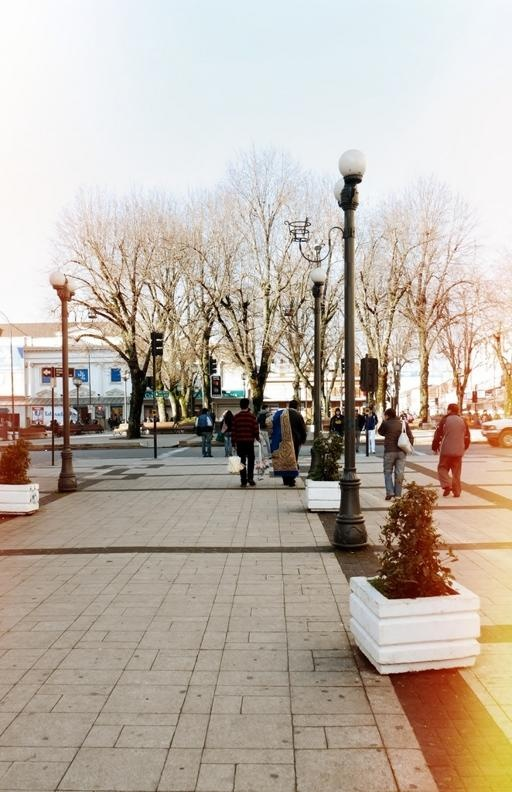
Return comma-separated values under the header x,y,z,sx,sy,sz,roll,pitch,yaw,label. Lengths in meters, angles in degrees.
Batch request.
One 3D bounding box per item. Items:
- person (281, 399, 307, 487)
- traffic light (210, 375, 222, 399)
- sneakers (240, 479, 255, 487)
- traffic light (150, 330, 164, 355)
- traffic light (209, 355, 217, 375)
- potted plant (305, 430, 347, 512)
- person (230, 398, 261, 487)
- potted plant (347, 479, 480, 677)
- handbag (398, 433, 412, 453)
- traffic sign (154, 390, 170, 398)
x,y,z,sx,sy,sz,roll,pitch,yaw,label
0.752,0.990,13.378,0.492,1.253,1.753,-1,0,2,person
-1.769,-0.435,28.877,0.429,0.767,1.323,-1,0,-8,traffic light
-0.161,1.821,13.445,0.221,0.128,0.319,-2,1,-35,sneakers
-3.143,-1.676,20.978,0.313,0.691,1.977,-1,0,-10,traffic light
-2.072,-1.417,31.376,0.286,0.682,1.333,-1,0,-8,traffic light
1.107,1.182,10.226,0.502,1.198,0.617,3,3,-1,potted plant
-0.221,0.968,13.364,0.502,1.369,1.615,-1,0,-2,person
0.988,1.075,3.988,0.707,1.099,0.575,-1,0,-9,potted plant
2.454,0.797,10.867,0.105,0.304,0.269,-4,-10,20,handbag
-3.908,-0.058,27.215,0.678,0.111,0.474,-1,28,-28,traffic sign
